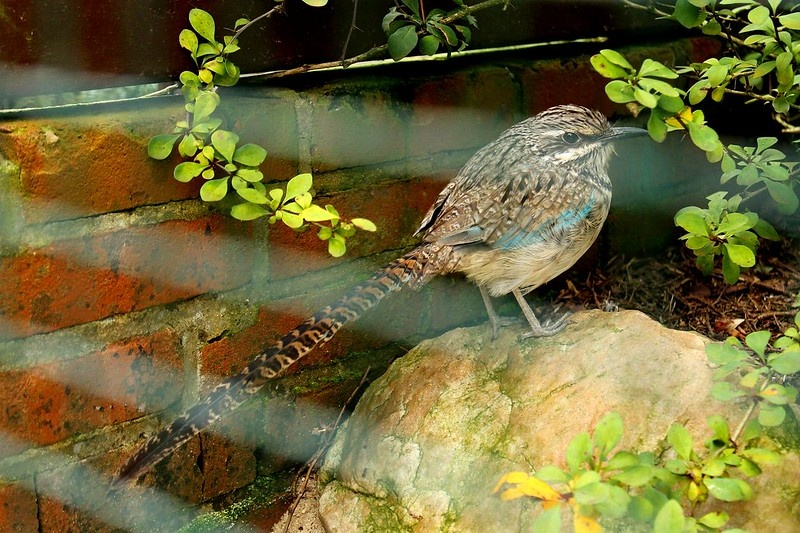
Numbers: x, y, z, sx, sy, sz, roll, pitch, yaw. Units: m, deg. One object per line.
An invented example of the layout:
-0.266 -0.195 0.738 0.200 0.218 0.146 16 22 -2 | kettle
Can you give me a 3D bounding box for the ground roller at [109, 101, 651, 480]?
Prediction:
0.143 -0.099 3.651 2.194 1.084 0.608 -9 28 -13 | ground roller
